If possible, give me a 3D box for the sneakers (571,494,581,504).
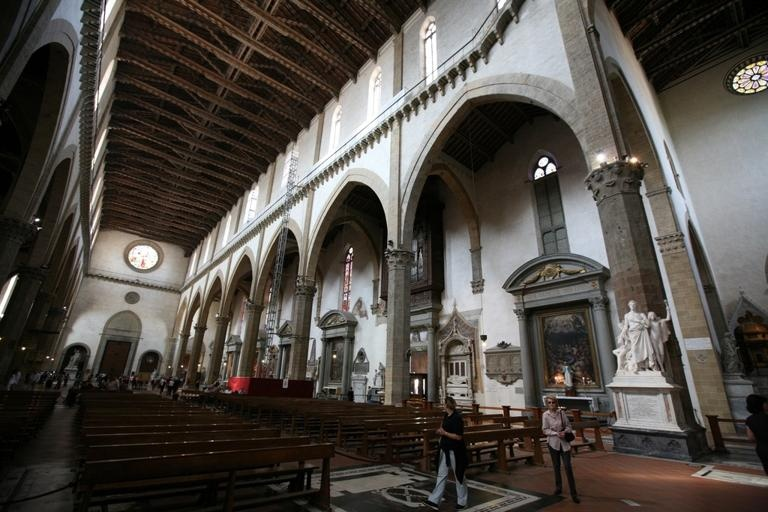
[{"bbox_3d":[3.601,4.542,7.902,0.177,0.136,0.138,3,-19,-6],"label":"sneakers"}]

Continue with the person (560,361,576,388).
[{"bbox_3d":[6.486,4.208,14.920,0.368,0.929,0.286,-8,-21,23],"label":"person"}]

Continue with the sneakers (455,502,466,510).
[{"bbox_3d":[1.399,4.544,7.670,0.176,0.101,0.221,-5,-20,14],"label":"sneakers"}]

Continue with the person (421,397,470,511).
[{"bbox_3d":[1.162,3.671,7.923,0.746,1.943,0.793,-2,-20,7],"label":"person"}]

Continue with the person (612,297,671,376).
[{"bbox_3d":[6.110,1.920,10.061,1.102,1.684,0.594,-9,-22,25],"label":"person"}]

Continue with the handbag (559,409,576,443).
[{"bbox_3d":[3.572,3.326,8.251,0.180,0.602,0.380,-7,-21,20],"label":"handbag"}]
